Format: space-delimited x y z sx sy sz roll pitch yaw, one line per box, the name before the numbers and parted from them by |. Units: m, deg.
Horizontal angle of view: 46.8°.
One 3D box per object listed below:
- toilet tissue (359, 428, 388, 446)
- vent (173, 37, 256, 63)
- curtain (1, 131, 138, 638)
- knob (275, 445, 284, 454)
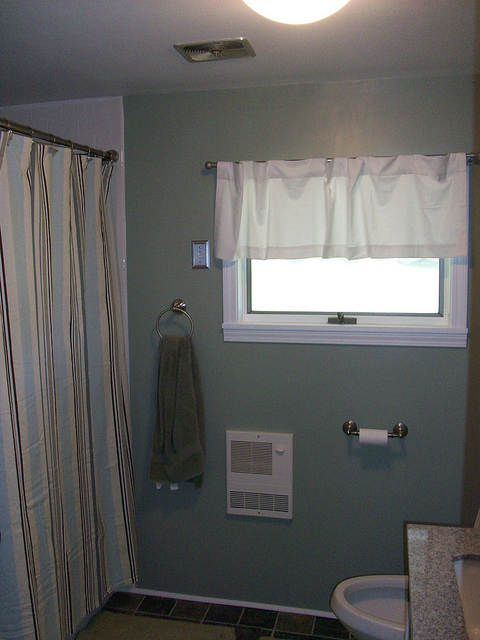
toilet tissue | 0.515 0.454 2.160 0.075 0.069 0.065 4 48 12
vent | -0.080 -0.906 1.868 0.254 0.029 0.195 -1 10 14
curtain | -0.636 0.280 1.937 0.104 1.595 0.463 4 8 22
knob | 0.162 0.537 2.303 0.036 0.037 0.015 -2 7 1
